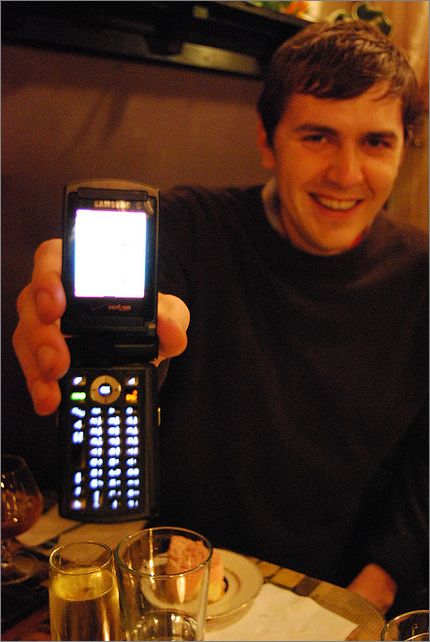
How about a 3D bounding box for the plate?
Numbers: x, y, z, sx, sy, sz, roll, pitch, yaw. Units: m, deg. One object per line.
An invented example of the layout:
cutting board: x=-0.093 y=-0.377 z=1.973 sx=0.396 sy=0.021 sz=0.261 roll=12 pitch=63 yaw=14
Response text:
plate: x=0.005 y=0.285 z=0.621 sx=0.091 sy=0.019 sz=0.089 roll=3 pitch=15 yaw=11
